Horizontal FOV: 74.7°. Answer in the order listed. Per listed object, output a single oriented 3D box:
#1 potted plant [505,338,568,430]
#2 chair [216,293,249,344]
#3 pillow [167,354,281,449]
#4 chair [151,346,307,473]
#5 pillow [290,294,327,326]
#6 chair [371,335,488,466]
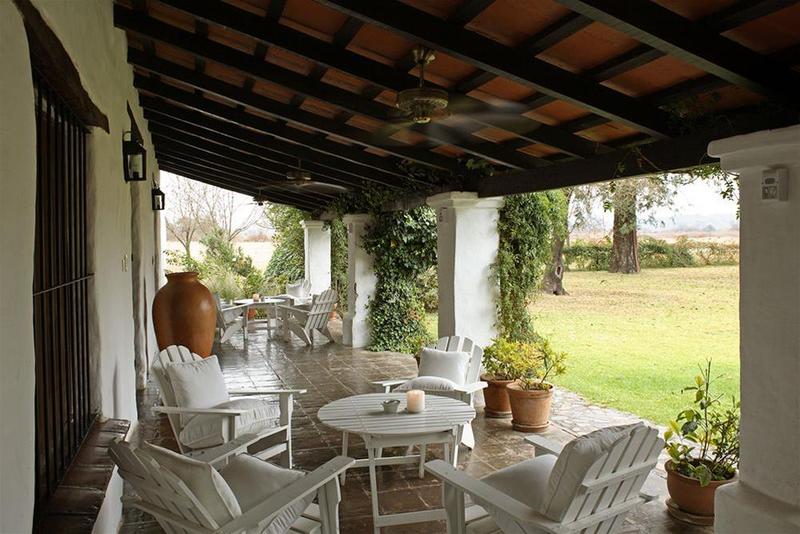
[{"bbox_3d":[1.549,1.305,6.055,0.621,0.971,0.722,0,1,12],"label":"potted plant"},{"bbox_3d":[-3.367,1.017,10.424,0.593,0.965,0.774,0,1,-27],"label":"chair"},{"bbox_3d":[-1.592,1.188,4.847,0.792,0.721,0.797,-6,-6,20],"label":"pillow"},{"bbox_3d":[-1.643,1.340,4.798,1.116,1.020,1.020,2,-2,15],"label":"chair"},{"bbox_3d":[-1.811,0.790,10.358,0.560,0.726,0.769,-5,7,-44],"label":"pillow"},{"bbox_3d":[0.351,1.314,5.454,1.007,0.985,1.110,3,5,22],"label":"chair"}]
